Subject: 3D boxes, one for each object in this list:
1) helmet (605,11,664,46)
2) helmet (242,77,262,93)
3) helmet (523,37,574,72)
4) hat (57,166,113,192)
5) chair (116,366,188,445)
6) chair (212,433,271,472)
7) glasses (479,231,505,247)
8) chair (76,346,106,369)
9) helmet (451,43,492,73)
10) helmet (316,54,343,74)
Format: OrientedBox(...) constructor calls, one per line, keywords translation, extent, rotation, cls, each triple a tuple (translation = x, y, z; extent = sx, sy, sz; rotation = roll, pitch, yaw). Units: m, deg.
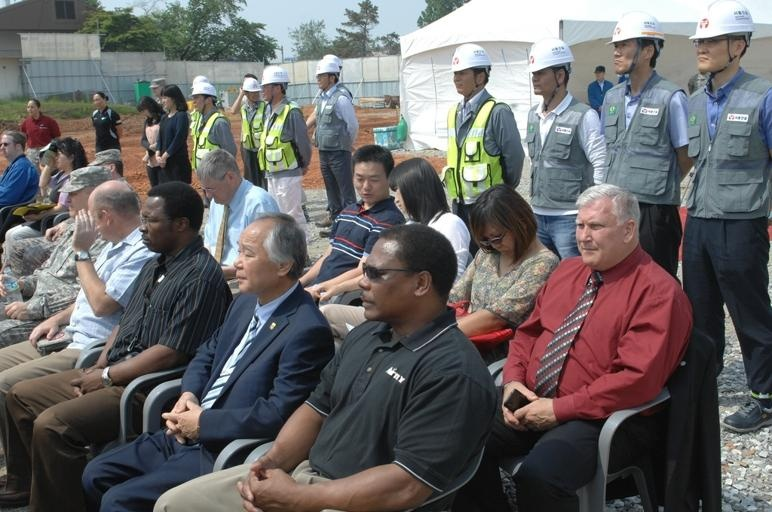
OrientedBox(translation=(2.165, -1.956, 5.836), extent=(0.357, 0.187, 0.276), rotation=(5, 16, 1), cls="helmet")
OrientedBox(translation=(-2.195, -2.746, 10.920), extent=(0.253, 0.179, 0.335), rotation=(-5, 15, -23), cls="helmet")
OrientedBox(translation=(1.573, -1.901, 6.405), extent=(0.405, 0.222, 0.304), rotation=(-10, 18, -23), cls="helmet")
OrientedBox(translation=(-2.859, -0.722, 6.414), extent=(0.385, 0.123, 0.264), rotation=(-19, 15, -16), cls="hat")
OrientedBox(translation=(-1.689, 1.050, 4.923), extent=(0.540, 0.635, 0.446), rotation=(1, 3, -40), cls="chair")
OrientedBox(translation=(-0.889, 1.189, 4.150), extent=(0.200, 0.233, 0.271), rotation=(-1, -5, 37), cls="chair")
OrientedBox(translation=(0.742, -0.128, 4.755), extent=(0.039, 0.127, 0.125), rotation=(-31, 9, -37), cls="glasses")
OrientedBox(translation=(-2.321, 0.787, 5.322), extent=(0.148, 0.223, 0.218), rotation=(-26, 20, -20), cls="chair")
OrientedBox(translation=(0.870, -2.010, 6.901), extent=(0.367, 0.229, 0.267), rotation=(-4, 20, -16), cls="helmet")
OrientedBox(translation=(-0.847, -2.986, 10.741), extent=(0.512, 0.307, 0.355), rotation=(-5, 22, -23), cls="helmet")
